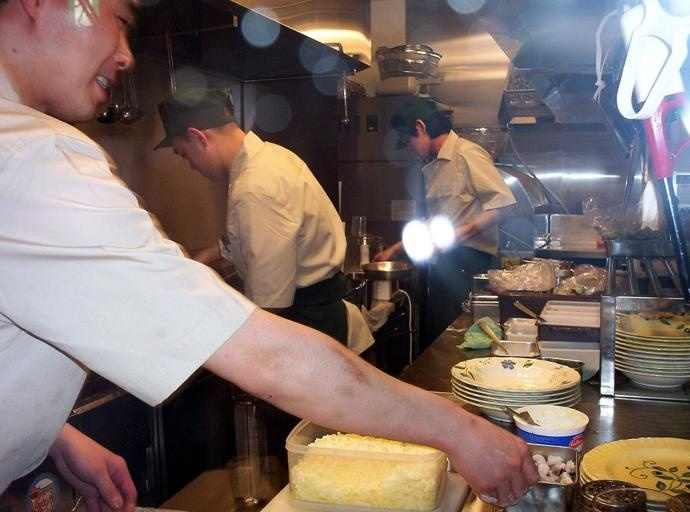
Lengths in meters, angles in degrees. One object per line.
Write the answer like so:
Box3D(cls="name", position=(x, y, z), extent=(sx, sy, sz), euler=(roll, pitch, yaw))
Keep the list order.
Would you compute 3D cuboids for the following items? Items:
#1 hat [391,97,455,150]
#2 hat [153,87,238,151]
Box3D(cls="hat", position=(0.547, -0.948, 3.936), extent=(0.405, 0.333, 0.297), euler=(-9, 19, 11))
Box3D(cls="hat", position=(-0.593, -0.563, 2.265), extent=(0.286, 0.166, 0.218), euler=(-8, 23, 7))
